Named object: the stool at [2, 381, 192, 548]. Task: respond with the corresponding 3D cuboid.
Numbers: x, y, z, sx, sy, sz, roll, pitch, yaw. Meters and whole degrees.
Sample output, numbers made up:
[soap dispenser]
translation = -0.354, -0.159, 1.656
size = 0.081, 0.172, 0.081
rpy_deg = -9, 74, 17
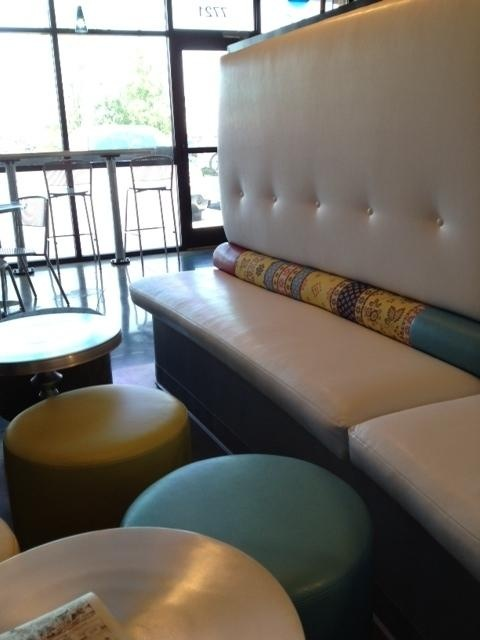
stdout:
[stool]
translation = -0.366, 0.339, 1.284
size = 0.395, 0.374, 0.408
rpy_deg = -5, 12, -10
